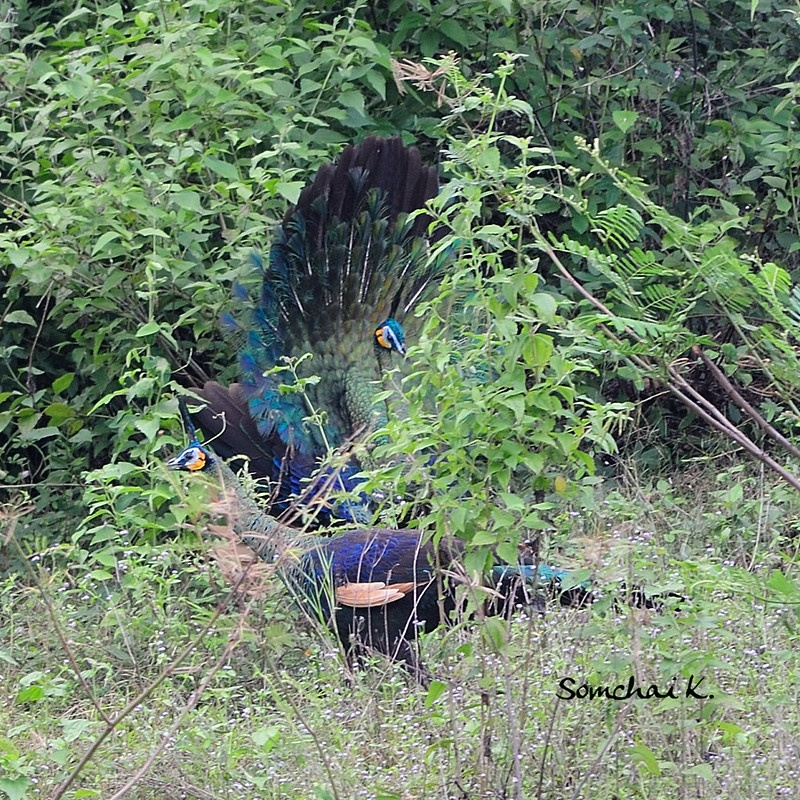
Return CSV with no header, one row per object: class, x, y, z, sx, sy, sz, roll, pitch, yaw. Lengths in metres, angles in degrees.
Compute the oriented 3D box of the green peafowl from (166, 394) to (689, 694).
green peafowl,-0.030,0.547,3.886,1.719,0.887,0.513,1,-1,-35
